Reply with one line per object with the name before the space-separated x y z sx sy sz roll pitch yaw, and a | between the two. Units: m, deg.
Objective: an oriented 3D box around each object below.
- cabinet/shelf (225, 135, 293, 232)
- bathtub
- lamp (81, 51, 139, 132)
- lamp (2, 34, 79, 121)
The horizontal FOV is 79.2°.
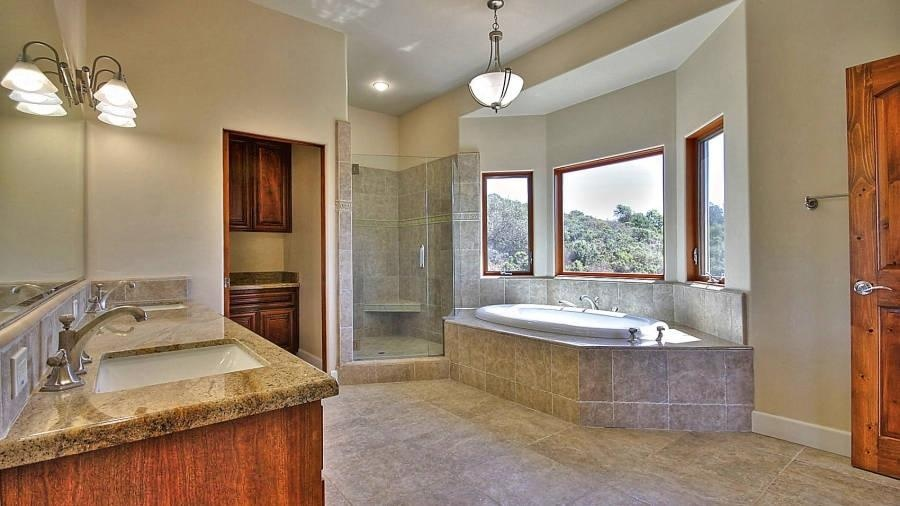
cabinet/shelf | -2.323 -0.841 6.681 0.691 1.208 0.176 -2 0 -37
bathtub | 1.287 0.725 5.925 1.109 0.308 2.013 -1 0 -43
lamp | -2.592 -1.245 4.141 0.368 0.403 0.612 -6 -12 -3
lamp | -2.570 -1.101 3.371 0.143 0.524 0.548 -2 0 -16
